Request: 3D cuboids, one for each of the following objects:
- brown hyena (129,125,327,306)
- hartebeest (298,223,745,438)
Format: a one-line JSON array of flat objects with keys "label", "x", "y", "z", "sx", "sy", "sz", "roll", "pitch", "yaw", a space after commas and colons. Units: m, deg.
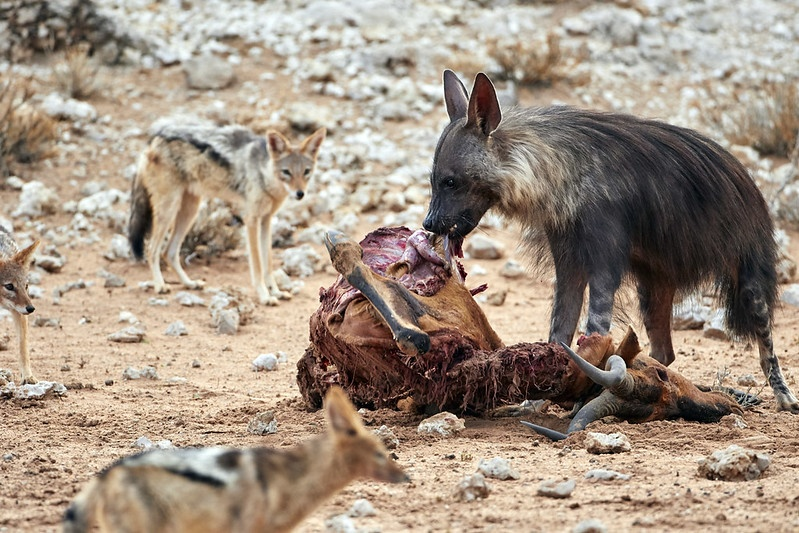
[{"label": "brown hyena", "x": -2.402, "y": -0.825, "z": 16.302, "sx": 2.461, "sy": 2.045, "sz": 1.661, "roll": -3, "pitch": 18, "yaw": -12}, {"label": "hartebeest", "x": 0.764, "y": 0.665, "z": 11.242, "sx": 3.629, "sy": 1.908, "sz": 1.099, "roll": 2, "pitch": 18, "yaw": 4}]
